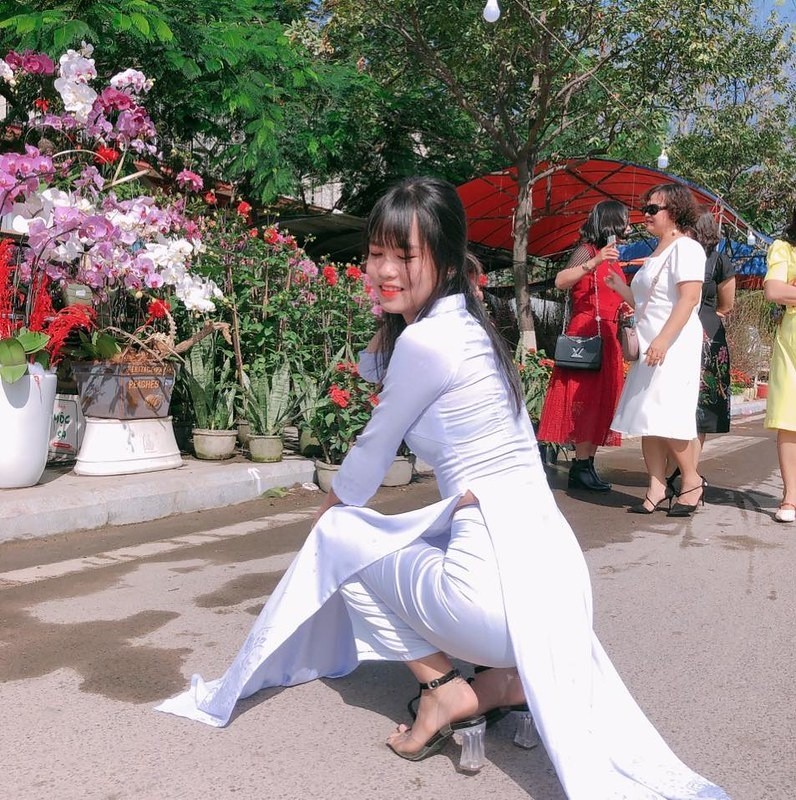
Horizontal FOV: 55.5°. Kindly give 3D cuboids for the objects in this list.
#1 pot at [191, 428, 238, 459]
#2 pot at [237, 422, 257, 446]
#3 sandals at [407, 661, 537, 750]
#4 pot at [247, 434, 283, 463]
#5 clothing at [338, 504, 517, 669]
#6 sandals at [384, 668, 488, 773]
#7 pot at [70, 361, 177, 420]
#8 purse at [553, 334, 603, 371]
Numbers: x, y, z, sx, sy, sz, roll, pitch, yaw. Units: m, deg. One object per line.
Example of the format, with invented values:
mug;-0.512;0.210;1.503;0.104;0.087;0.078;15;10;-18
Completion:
pot;-1.420;0.336;5.955;0.297;0.153;0.275;2;7;0
pot;-1.261;0.264;6.339;0.170;0.179;0.171;2;19;-1
sandals;0.232;0.854;2.083;0.490;0.164;0.162;3;6;18
pot;-1.035;0.364;5.941;0.257;0.158;0.231;2;4;10
clothing;0.078;0.473;1.917;0.475;0.424;0.143;6;6;41
sandals;0.098;0.833;1.984;0.343;0.149;0.122;-30;-31;30
pot;-1.923;-0.082;5.342;0.601;0.313;0.495;1;0;33
purse;1.356;-0.362;5.656;0.312;0.218;0.114;6;10;21
